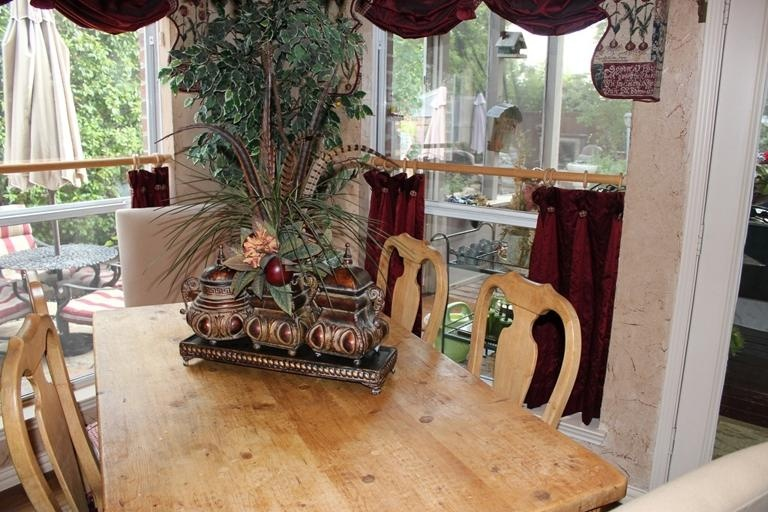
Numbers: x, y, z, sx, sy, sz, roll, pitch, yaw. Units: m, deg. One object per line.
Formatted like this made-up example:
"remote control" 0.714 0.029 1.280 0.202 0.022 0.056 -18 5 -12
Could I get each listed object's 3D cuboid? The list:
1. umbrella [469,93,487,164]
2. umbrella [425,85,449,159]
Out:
"umbrella" 0.581 -0.802 3.227 0.115 0.371 0.049 8 17 39
"umbrella" 0.341 -0.850 3.412 0.155 0.455 0.055 10 17 42
